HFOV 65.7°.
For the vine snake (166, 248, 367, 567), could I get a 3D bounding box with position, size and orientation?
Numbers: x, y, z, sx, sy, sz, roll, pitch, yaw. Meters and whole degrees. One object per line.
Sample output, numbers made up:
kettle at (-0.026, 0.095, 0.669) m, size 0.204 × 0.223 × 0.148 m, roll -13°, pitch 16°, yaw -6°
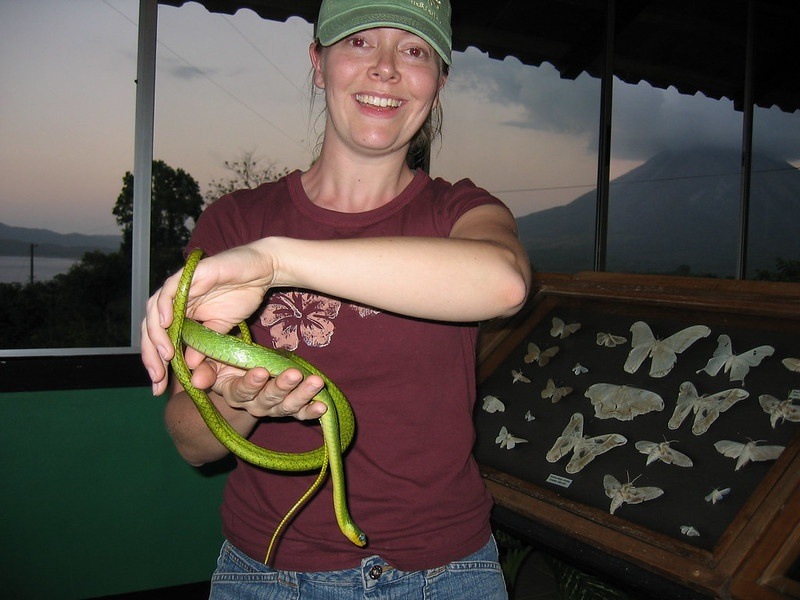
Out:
vine snake at (-0.313, 0.290, 2.000) m, size 0.510 × 1.003 × 0.146 m, roll -39°, pitch 1°, yaw 32°
